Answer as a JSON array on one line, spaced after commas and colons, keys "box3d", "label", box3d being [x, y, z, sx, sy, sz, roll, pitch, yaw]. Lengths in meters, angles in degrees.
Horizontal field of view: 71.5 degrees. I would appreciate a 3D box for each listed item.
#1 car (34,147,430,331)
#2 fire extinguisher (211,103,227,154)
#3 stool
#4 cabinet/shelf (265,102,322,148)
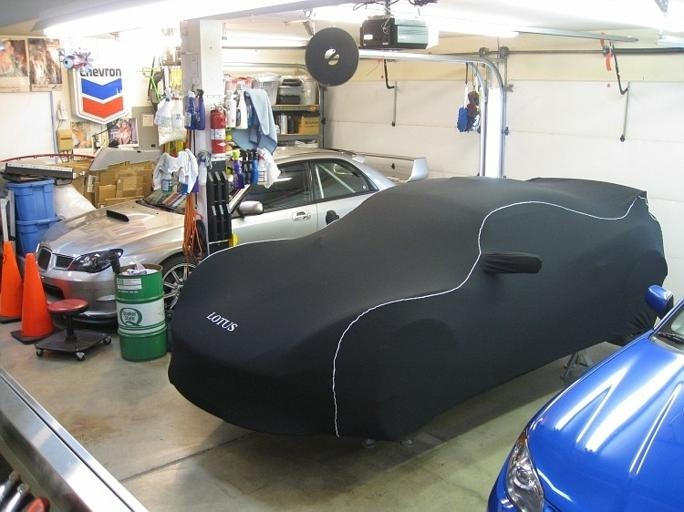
[{"box3d": [-1.154, -0.323, 6.047, 4.563, 1.585, 2.012, -7, 12, -30], "label": "car"}, {"box3d": [-1.235, -1.225, 4.710, 0.174, 0.466, 0.125, -5, 15, -8], "label": "fire extinguisher"}, {"box3d": [-2.882, 0.808, 5.000, 0.630, 0.591, 0.646, 5, 11, 23], "label": "stool"}, {"box3d": [-0.948, -2.848, 10.634, 1.251, 0.875, 0.706, 3, 18, 17], "label": "cabinet/shelf"}]
